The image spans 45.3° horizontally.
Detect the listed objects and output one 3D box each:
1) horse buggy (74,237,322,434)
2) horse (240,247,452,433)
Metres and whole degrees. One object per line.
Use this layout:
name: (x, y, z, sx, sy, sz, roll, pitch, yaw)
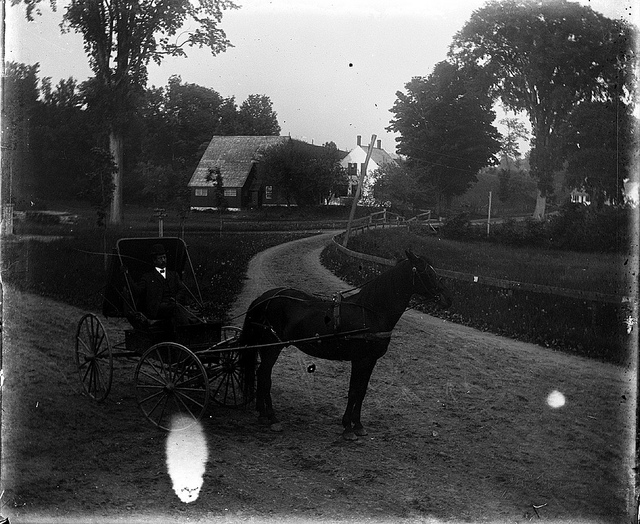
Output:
horse buggy: (-1.481, 0.985, 9.975, 1.747, 2.529, 2.845, -1, 4, -43)
horse: (0.356, 1.090, 9.809, 1.926, 1.900, 0.729, 1, -7, 16)
